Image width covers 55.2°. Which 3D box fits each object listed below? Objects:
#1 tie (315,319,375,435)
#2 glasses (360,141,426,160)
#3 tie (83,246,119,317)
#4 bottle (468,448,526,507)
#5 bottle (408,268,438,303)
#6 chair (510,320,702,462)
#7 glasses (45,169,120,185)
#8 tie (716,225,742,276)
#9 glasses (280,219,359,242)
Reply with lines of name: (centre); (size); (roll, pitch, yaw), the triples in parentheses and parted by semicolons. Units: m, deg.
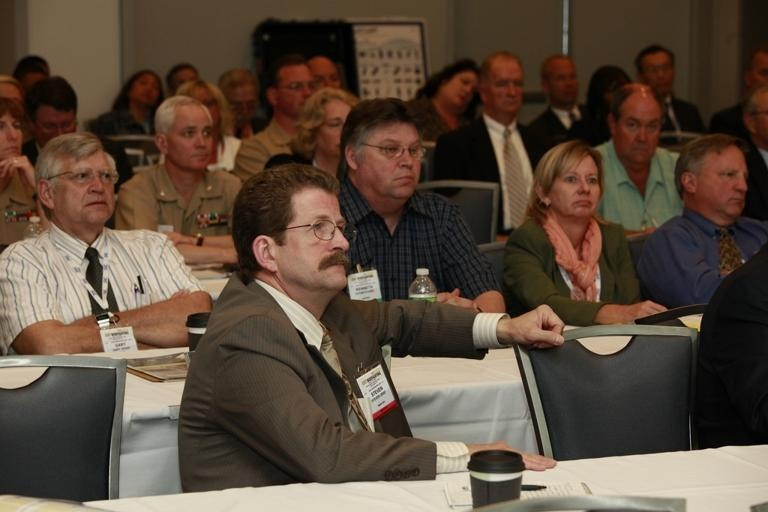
tie: (-0.123, 0.377, 2.227); (0.036, 0.196, 0.355); (-27, -5, -2)
glasses: (0.066, -0.505, 3.565); (0.334, 0.088, 0.099); (-6, 6, -22)
tie: (-1.311, 0.118, 3.394); (0.104, 0.367, 0.051); (-9, -15, -29)
bottle: (0.278, 0.554, 1.828); (0.132, 0.133, 0.122); (-3, 6, 4)
bottle: (0.176, 0.140, 3.360); (0.137, 0.232, 0.138); (0, 1, 0)
chair: (0.756, 0.455, 2.733); (0.468, 0.818, 0.500); (-3, -6, -6)
glasses: (-1.437, -0.367, 3.481); (0.284, 0.065, 0.117); (-6, 6, -28)
tie: (1.794, -0.028, 3.811); (0.113, 0.231, 0.185); (-1, 6, 25)
glasses: (-0.216, -0.078, 2.315); (0.108, 0.033, 0.109); (5, -12, -42)
